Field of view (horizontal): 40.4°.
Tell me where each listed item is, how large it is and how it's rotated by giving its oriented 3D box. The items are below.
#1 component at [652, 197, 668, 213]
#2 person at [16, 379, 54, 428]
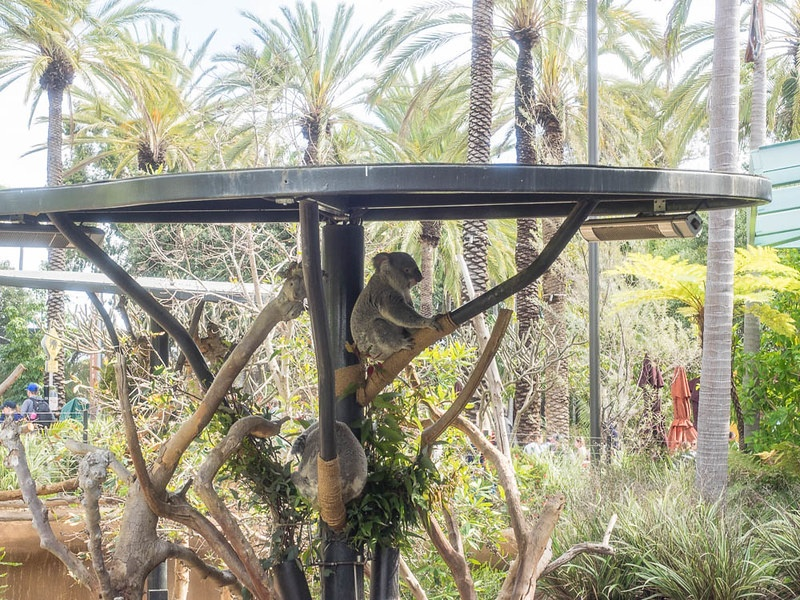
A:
[{"bbox_3d":[2.863,-1.042,11.979,0.127,0.152,0.130,5,9,40],"label":"component"},{"bbox_3d":[-7.373,2.414,21.838,0.501,1.493,0.648,4,-3,-36],"label":"person"}]
